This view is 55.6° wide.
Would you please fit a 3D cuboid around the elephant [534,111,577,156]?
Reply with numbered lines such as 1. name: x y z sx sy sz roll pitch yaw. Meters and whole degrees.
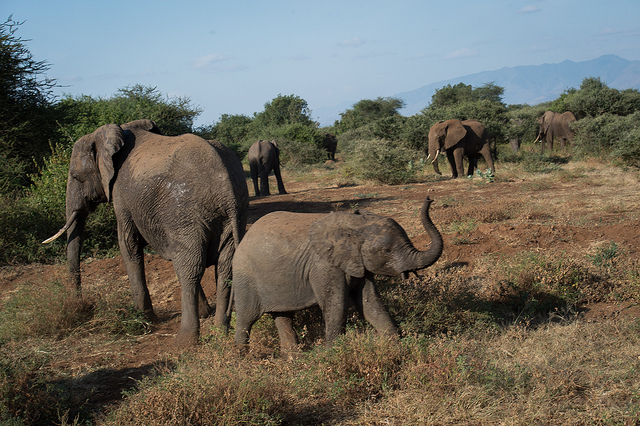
1. elephant: 11.754 -3.945 29.912 1.153 2.056 2.972 -2 3 -14

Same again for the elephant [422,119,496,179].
1. elephant: 5.559 -2.560 24.364 2.962 2.261 1.982 -3 2 -5

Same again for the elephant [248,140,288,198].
1. elephant: -2.177 -1.866 24.103 1.193 2.110 3.035 -7 6 -6
